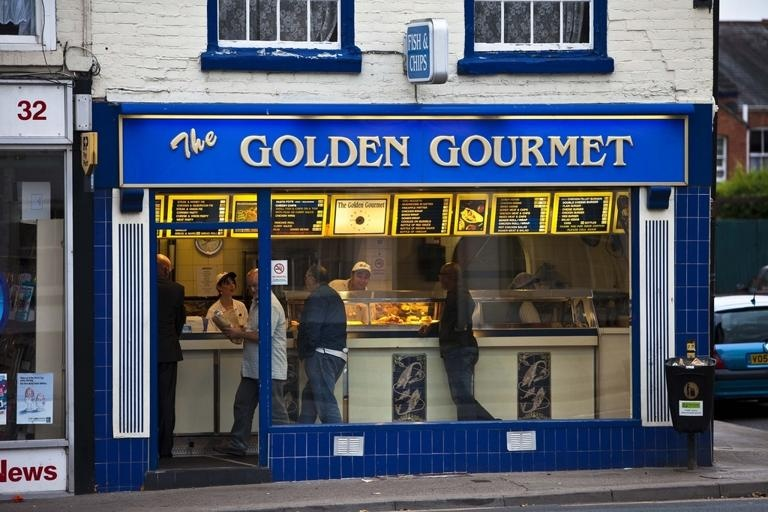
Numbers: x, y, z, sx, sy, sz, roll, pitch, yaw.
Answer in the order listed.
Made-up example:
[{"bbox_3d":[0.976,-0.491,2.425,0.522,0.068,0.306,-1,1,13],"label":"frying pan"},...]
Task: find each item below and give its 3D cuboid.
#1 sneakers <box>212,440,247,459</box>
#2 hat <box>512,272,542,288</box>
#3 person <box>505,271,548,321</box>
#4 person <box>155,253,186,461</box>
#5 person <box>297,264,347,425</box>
[{"bbox_3d":[-2.105,2.709,21.541,0.555,0.227,0.195,7,-2,9],"label":"sneakers"},{"bbox_3d":[1.991,0.329,21.507,0.304,0.103,0.227,-7,-7,37],"label":"hat"},{"bbox_3d":[1.979,0.551,21.515,0.455,0.664,0.189,-2,5,3],"label":"person"},{"bbox_3d":[-2.966,1.393,21.560,0.501,2.292,0.183,-2,-1,-32],"label":"person"},{"bbox_3d":[-0.842,1.203,21.306,0.665,1.847,0.263,-3,-1,2],"label":"person"}]
